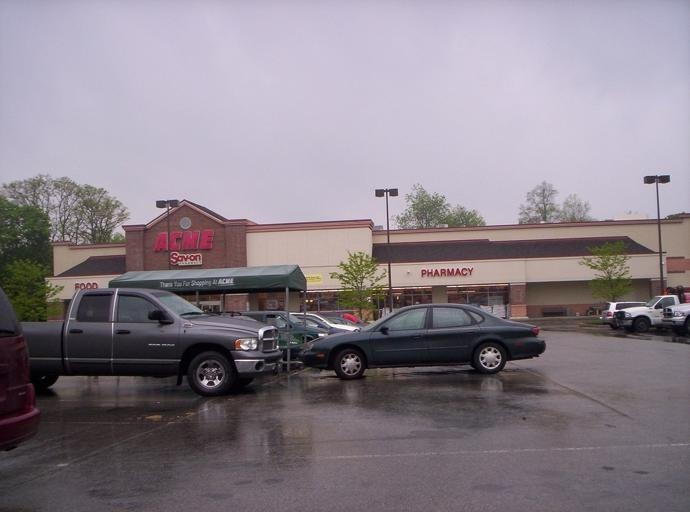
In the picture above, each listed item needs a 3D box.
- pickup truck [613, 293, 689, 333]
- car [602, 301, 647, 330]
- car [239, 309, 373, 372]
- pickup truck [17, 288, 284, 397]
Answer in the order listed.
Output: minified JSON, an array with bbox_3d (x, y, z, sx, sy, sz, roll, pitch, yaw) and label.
[{"bbox_3d":[14.925,2.745,33.169,3.285,1.165,1.558,-1,-5,-2],"label":"pickup truck"},{"bbox_3d":[15.894,3.321,37.435,3.594,1.357,1.603,-4,-4,0],"label":"car"},{"bbox_3d":[-1.264,2.550,21.525,3.736,1.448,1.674,-3,-3,10],"label":"car"},{"bbox_3d":[-4.316,1.847,15.224,5.534,1.717,2.278,-2,-3,5],"label":"pickup truck"}]
